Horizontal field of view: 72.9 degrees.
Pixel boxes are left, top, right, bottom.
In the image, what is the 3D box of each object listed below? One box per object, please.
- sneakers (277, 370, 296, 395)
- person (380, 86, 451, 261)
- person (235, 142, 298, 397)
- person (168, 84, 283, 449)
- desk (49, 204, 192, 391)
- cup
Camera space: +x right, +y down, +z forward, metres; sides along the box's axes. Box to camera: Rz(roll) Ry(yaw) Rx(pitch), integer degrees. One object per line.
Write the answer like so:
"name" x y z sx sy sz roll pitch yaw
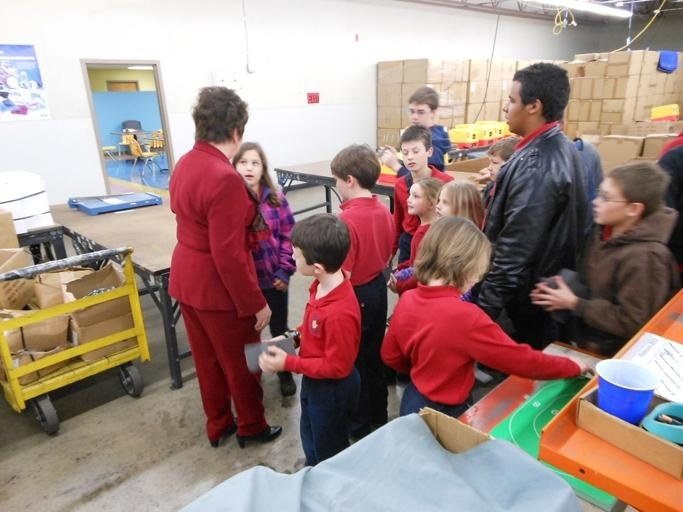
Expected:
"sneakers" -0.335 0.798 2.946 0.075 0.126 0.208 -3 -1 -22
"person" 0.698 -0.648 3.758 0.361 1.192 0.422 -4 3 30
"person" -0.473 0.107 2.882 0.464 1.517 0.361 -7 22 -14
"person" -0.555 0.156 2.219 0.492 1.814 0.307 -13 23 -20
"desk" -1.362 0.286 2.856 0.721 0.542 1.138 -12 18 -38
"cup" 0.794 0.391 1.272 0.120 0.093 0.120 2 6 0
